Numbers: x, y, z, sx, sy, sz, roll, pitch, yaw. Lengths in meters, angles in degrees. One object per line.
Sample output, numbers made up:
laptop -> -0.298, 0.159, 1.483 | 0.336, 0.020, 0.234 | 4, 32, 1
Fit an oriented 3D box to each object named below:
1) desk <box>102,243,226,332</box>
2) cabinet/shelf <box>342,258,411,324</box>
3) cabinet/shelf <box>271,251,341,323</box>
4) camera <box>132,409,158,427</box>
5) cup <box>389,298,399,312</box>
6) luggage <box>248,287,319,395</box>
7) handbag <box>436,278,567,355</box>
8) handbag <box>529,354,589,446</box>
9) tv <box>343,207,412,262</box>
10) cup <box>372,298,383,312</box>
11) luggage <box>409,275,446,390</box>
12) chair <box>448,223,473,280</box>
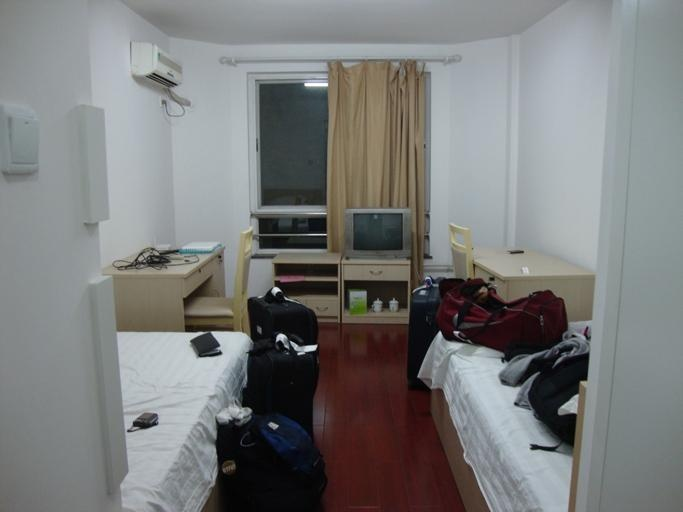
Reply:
desk -> -1.201, 0.235, 3.635 | 0.542, 0.401, 0.958 | 2, 13, 9
cabinet/shelf -> 0.331, 0.293, 4.916 | 0.782, 0.846, 0.499 | 0, 4, 4
cabinet/shelf -> -0.332, 0.296, 4.919 | 0.593, 0.635, 0.480 | -2, 9, -6
camera -> -0.723, 0.606, 1.924 | 0.094, 0.028, 0.086 | 2, 13, 8
cup -> 0.476, 0.468, 4.818 | 0.089, 0.145, 0.092 | 0, 0, 0
luggage -> -0.411, 0.452, 3.345 | 0.281, 0.503, 0.488 | -5, 12, -32
handbag -> 0.827, 0.321, 2.711 | 0.498, 0.247, 0.417 | 1, 3, 32
handbag -> 0.804, 0.544, 1.966 | 0.199, 0.223, 0.313 | 6, 14, 26
tv -> 0.327, -0.091, 4.812 | 0.617, 0.538, 0.404 | 0, 3, 1
cup -> 0.328, 0.470, 4.851 | 0.074, 0.120, 0.107 | 0, 0, -2
luggage -> 0.515, 0.494, 3.146 | 0.189, 0.618, 0.605 | 1, 7, 9
chair -> 0.851, -0.027, 3.709 | 0.183, 0.417, 0.412 | 3, 13, 14
